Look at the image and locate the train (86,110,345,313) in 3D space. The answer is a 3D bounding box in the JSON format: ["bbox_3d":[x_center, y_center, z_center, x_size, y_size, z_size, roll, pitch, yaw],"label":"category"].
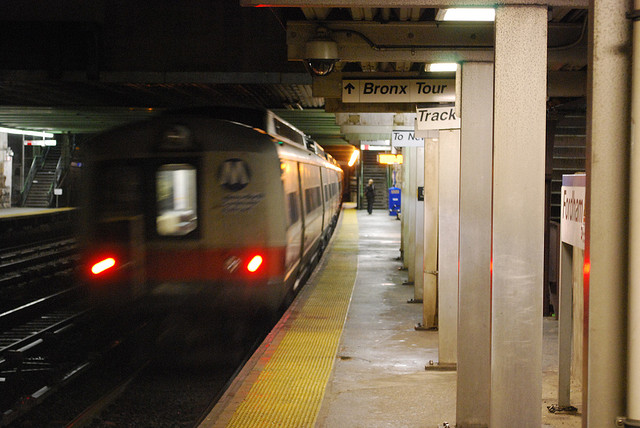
[{"bbox_3d":[-1.352,-0.267,12.472,2.963,3.422,10.894,-1,4,7],"label":"train"}]

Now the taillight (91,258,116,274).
[{"bbox_3d":[-2.893,0.700,7.097,0.329,0.156,0.080,-19,4,3],"label":"taillight"}]
